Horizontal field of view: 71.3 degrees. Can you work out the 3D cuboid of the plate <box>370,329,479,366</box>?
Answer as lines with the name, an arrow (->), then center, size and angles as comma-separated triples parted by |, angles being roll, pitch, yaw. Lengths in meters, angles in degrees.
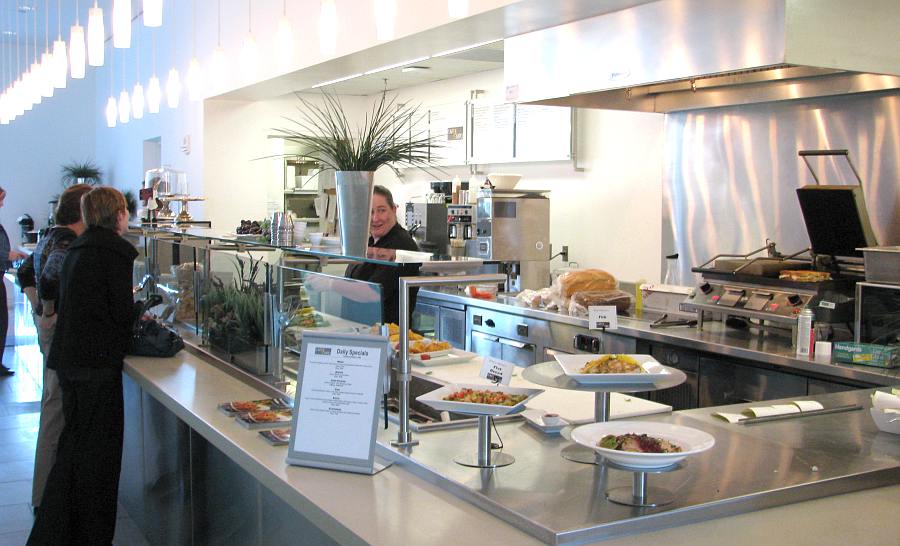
plate -> -0.099, 0.463, 3.745 | 0.409, 0.036, 0.392 | 2, 7, -37

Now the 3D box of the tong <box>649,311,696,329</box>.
tong -> 1.610, 0.350, 4.543 | 0.313, 0.054, 0.357 | 1, 9, 19

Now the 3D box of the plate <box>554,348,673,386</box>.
plate -> 0.710, 0.390, 2.690 | 0.489, 0.066, 0.373 | -2, 8, 4

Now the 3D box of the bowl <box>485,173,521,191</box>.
bowl -> 0.541, -0.944, 6.494 | 0.252, 0.085, 0.233 | 0, 3, 0

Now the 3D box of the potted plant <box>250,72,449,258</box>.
potted plant -> -0.524, -0.522, 3.357 | 0.720, 0.550, 0.647 | 4, 7, 33

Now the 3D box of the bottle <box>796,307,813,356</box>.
bottle -> 2.122, 0.354, 3.758 | 0.084, 0.269, 0.181 | 3, 11, 30

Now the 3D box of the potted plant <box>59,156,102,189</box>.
potted plant -> -8.223, -2.270, 14.126 | 0.844, 0.592, 0.720 | 5, 12, 39

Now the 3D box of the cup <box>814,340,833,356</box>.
cup -> 2.199, 0.442, 3.713 | 0.098, 0.079, 0.088 | 0, 2, -11

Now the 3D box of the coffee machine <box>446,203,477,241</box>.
coffee machine -> 0.124, -0.544, 6.687 | 0.421, 0.479, 0.368 | 0, -3, 12
